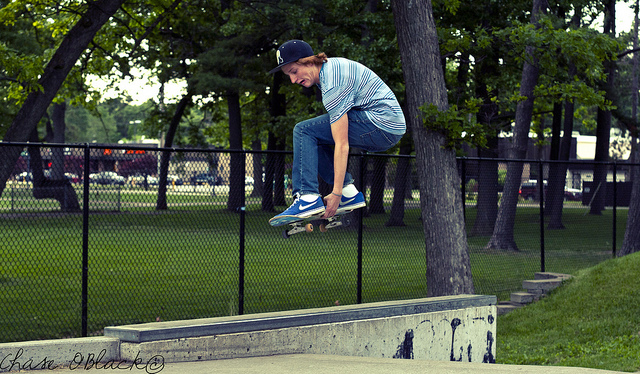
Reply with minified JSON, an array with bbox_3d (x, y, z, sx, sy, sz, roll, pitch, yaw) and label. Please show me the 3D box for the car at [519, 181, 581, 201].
[{"bbox_3d":[7.766,0.109,35.239,2.205,0.799,0.822,-2,1,-8],"label":"car"}]
